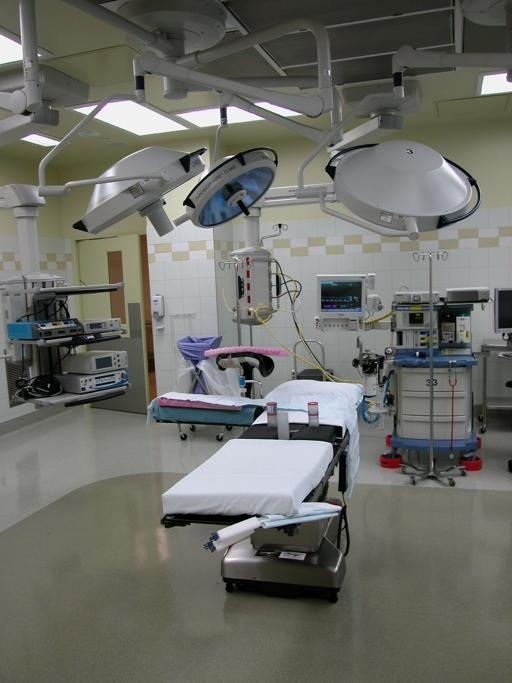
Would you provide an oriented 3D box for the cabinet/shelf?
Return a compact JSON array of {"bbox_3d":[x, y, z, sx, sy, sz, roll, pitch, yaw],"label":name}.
[{"bbox_3d":[1.273,0.504,3.994,0.697,0.882,0.549,-1,5,20],"label":"cabinet/shelf"}]

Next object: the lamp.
[{"bbox_3d":[-0.065,-1.043,2.516,1.754,0.554,1.720,6,21,8],"label":"lamp"}]
